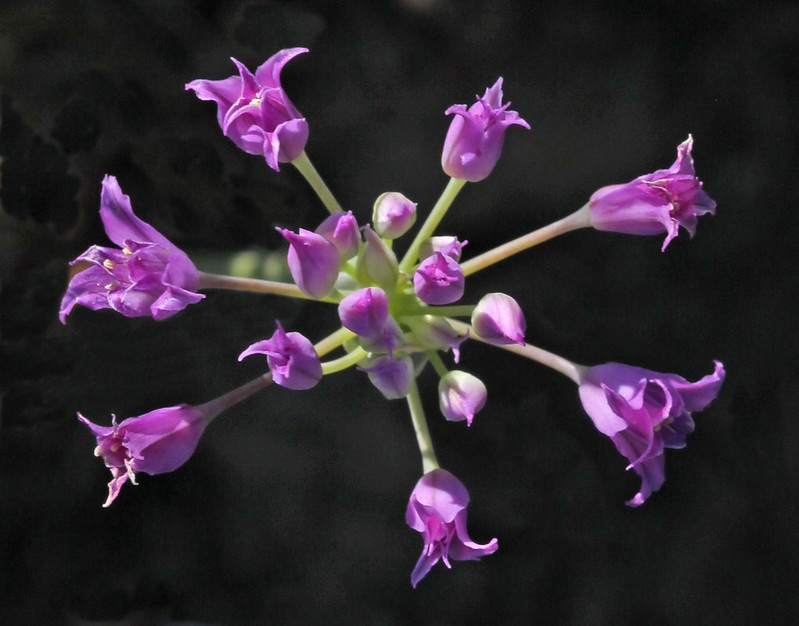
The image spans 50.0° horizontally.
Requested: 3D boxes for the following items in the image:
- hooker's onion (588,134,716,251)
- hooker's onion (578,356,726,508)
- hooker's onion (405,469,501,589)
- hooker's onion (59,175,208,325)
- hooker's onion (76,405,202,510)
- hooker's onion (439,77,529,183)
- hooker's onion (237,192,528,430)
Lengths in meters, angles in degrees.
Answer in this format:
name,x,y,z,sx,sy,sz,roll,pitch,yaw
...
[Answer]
name,x,y,z,sx,sy,sz,roll,pitch,yaw
hooker's onion,0.465,-0.235,1.732,0.193,0.286,0.170,-25,-72,-44
hooker's onion,0.515,0.195,1.682,0.267,0.212,0.221,-24,-58,6
hooker's onion,0.092,0.417,1.689,0.168,0.174,0.148,-9,-58,-3
hooker's onion,-0.511,-0.071,1.676,0.234,0.205,0.290,18,-63,-19
hooker's onion,-0.491,0.254,1.716,0.265,0.169,0.153,-22,-57,-42
hooker's onion,0.134,-0.343,1.692,0.140,0.082,0.178,23,-65,-21
hooker's onion,-0.050,-0.078,1.785,0.496,0.594,0.395,22,-65,-21
